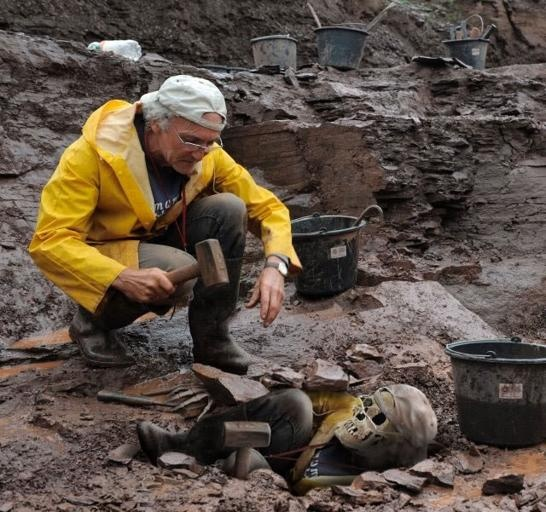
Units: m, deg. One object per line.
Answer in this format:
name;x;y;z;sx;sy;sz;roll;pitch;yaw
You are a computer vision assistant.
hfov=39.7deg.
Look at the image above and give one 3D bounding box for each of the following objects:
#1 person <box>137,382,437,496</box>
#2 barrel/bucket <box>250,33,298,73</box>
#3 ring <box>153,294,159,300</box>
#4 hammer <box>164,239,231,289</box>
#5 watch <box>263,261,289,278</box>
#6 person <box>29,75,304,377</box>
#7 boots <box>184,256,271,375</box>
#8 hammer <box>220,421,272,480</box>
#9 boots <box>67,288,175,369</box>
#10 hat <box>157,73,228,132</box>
person;0.074;0.762;3.551;1.381;0.349;0.629;9;32;0
barrel/bucket;0.010;-2.023;7.502;0.529;0.437;0.478;20;28;41
ring;-0.563;0.201;3.626;0.025;0.017;0.022;4;-10;-27
hammer;-0.347;0.036;3.513;0.303;0.240;0.100;5;15;31
watch;0.030;0.068;3.799;0.133;0.058;0.109;-1;-29;20
person;-0.528;-0.097;3.845;1.309;1.594;0.700;-1;13;-1
boots;-0.279;0.420;4.057;0.347;0.418;0.157;7;21;13
hammer;-0.133;0.851;3.324;0.254;0.205;0.147;9;2;-21
boots;-0.933;0.412;4.119;0.256;0.385;0.352;-20;50;-26
hat;-0.365;-0.748;3.635;0.402;0.162;0.246;23;35;14
